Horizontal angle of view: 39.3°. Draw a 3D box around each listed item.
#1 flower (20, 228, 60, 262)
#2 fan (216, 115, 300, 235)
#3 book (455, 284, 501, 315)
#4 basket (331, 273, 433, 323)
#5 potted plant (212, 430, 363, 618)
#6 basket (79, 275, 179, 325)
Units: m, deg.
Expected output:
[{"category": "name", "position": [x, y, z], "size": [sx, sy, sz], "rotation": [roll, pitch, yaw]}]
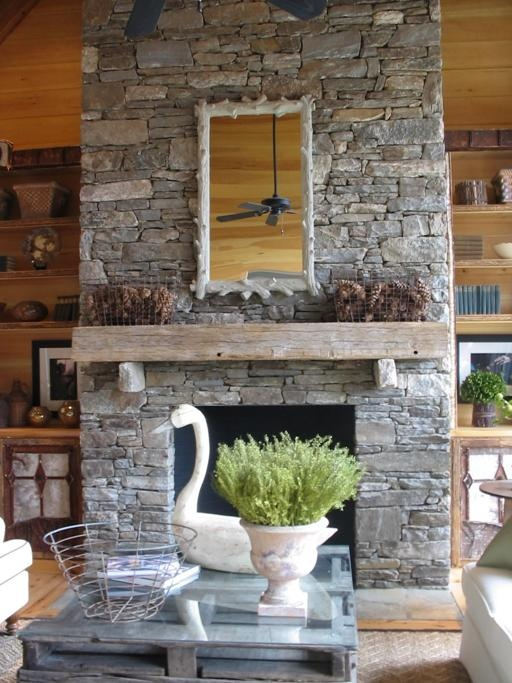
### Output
[{"category": "flower", "position": [-1.447, -0.649, 4.826], "size": [0.266, 0.214, 0.058], "rotation": [4, -3, 6]}, {"category": "fan", "position": [0.104, -0.873, 3.804], "size": [0.599, 0.588, 0.558], "rotation": [4, 0, 9]}, {"category": "book", "position": [1.363, -0.254, 4.409], "size": [0.270, 0.170, 0.116], "rotation": [4, 15, 9]}, {"category": "basket", "position": [0.679, -0.222, 3.851], "size": [0.516, 0.236, 0.244], "rotation": [4, 14, 10]}, {"category": "potted plant", "position": [0.099, 0.576, 2.547], "size": [0.779, 0.627, 0.559], "rotation": [0, -3, 0]}, {"category": "basket", "position": [-0.701, -0.222, 3.936], "size": [0.472, 0.265, 0.101], "rotation": [1, 3, 9]}]
